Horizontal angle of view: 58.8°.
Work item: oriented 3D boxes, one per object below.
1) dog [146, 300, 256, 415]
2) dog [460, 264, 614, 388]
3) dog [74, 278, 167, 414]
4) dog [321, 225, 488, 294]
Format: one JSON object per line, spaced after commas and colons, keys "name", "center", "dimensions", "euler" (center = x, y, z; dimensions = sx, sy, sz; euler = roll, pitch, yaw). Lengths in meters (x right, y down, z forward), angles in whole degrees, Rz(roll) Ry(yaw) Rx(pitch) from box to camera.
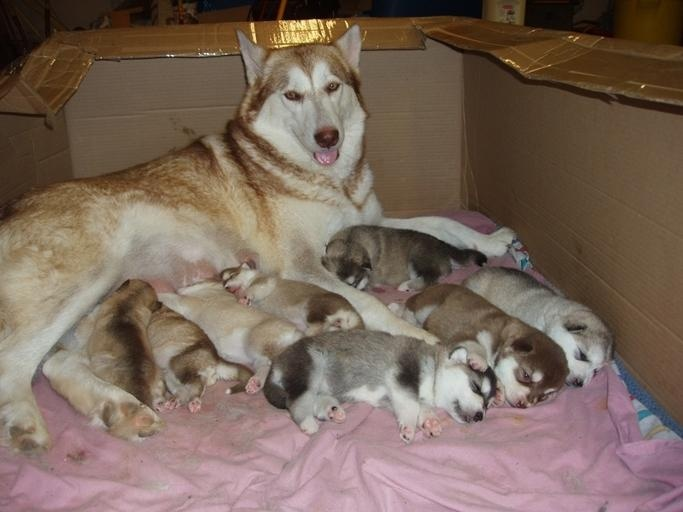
{"name": "dog", "center": [-0.992, 0.654, 3.928], "dimensions": [0.969, 0.348, 0.512], "euler": [21, 8, 24]}
{"name": "dog", "center": [1.385, 0.349, 4.241], "dimensions": [0.465, 0.495, 1.060], "euler": [-23, 47, -26]}
{"name": "dog", "center": [-1.370, 0.556, 3.985], "dimensions": [0.333, 0.597, 1.154], "euler": [11, 37, -27]}
{"name": "dog", "center": [0.477, 0.001, 4.875], "dimensions": [1.262, 0.472, 0.558], "euler": [3, 11, 4]}
